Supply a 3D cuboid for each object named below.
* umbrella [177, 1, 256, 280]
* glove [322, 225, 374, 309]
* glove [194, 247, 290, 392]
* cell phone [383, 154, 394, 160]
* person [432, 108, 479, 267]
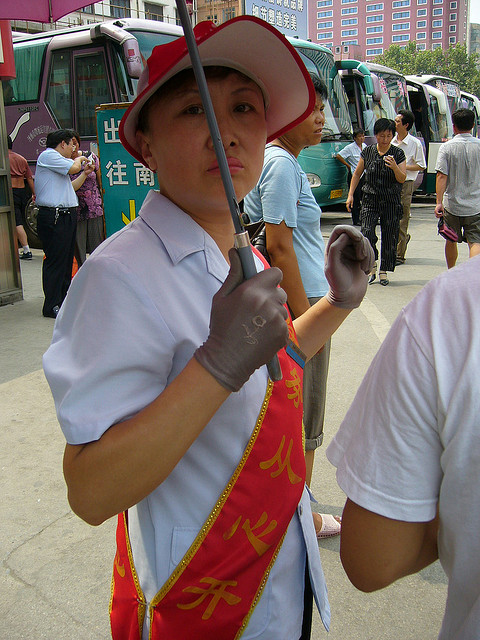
[{"bbox_3d":[-0.046,-0.320,0.880,0.022,0.644,0.024,-6,9,37],"label":"umbrella"},{"bbox_3d":[0.313,-0.140,1.373,0.142,0.262,0.235,2,13,10],"label":"glove"},{"bbox_3d":[0.010,-0.008,0.763,0.061,0.146,0.189,19,64,29],"label":"glove"},{"bbox_3d":[2.173,-2.385,7.021,0.145,0.088,0.221,4,14,18],"label":"cell phone"},{"bbox_3d":[3.241,-2.043,7.018,0.600,2.073,0.745,-12,17,-42],"label":"person"}]
